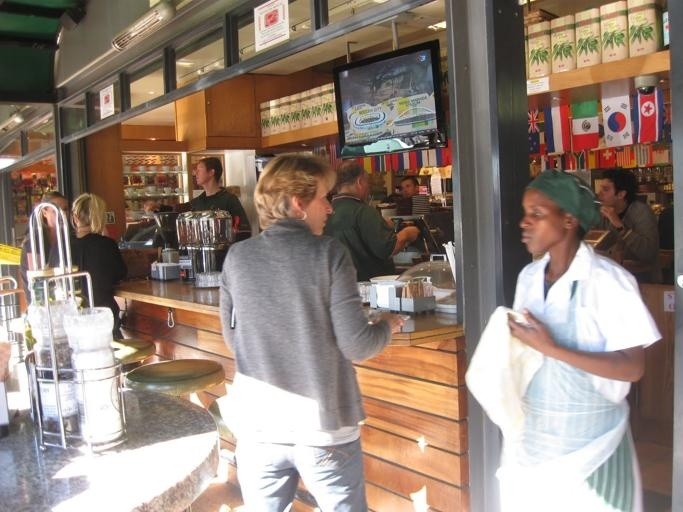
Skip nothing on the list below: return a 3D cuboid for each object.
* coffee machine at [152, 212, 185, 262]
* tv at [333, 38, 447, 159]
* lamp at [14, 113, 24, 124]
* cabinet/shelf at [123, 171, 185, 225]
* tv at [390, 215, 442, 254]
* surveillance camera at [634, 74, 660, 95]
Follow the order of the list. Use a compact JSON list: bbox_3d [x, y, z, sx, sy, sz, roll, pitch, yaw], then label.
[{"bbox_3d":[-1.583,-0.140,5.031,0.214,0.553,1.036,-4,14,-18],"label":"coffee machine"},{"bbox_3d":[0.378,-1.172,4.297,0.112,0.714,1.051,-15,13,-42],"label":"tv"},{"bbox_3d":[-4.600,-1.954,7.904,0.129,0.112,0.223,8,5,-24],"label":"lamp"},{"bbox_3d":[-3.028,-0.905,8.908,0.376,0.937,1.132,14,15,35],"label":"cabinet/shelf"},{"bbox_3d":[0.713,-0.202,5.348,0.514,0.321,0.366,-7,10,42],"label":"tv"},{"bbox_3d":[1.967,-1.100,3.571,0.114,0.072,0.106,-1,4,12],"label":"surveillance camera"}]
